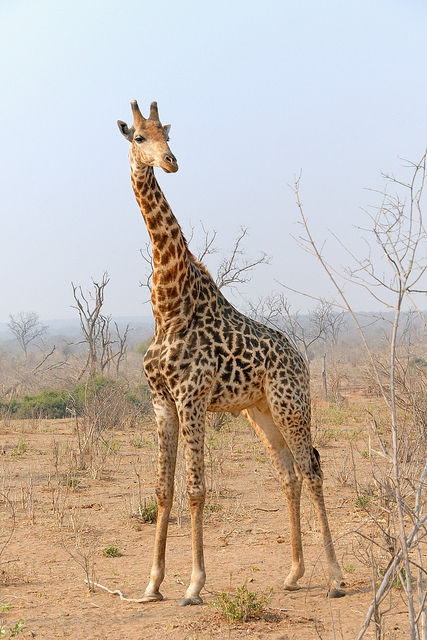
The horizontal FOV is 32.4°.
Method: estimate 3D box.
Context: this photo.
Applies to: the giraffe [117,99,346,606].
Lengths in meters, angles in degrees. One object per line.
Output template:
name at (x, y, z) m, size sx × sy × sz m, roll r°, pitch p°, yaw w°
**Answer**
giraffe at (-0.007, 0.297, 5.876) m, size 1.122 × 3.556 × 2.539 m, roll -13°, pitch -33°, yaw 18°
